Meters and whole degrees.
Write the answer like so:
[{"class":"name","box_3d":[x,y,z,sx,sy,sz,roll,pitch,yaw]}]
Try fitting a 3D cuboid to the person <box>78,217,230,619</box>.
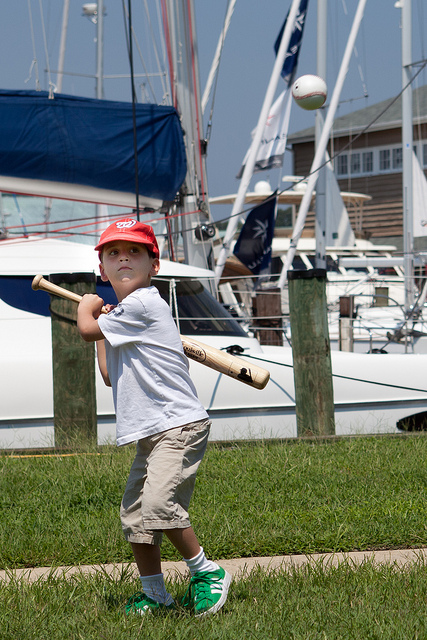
[{"class":"person","box_3d":[-0.249,0.371,4.219,0.585,1.581,0.527,-2,-10,5]}]
